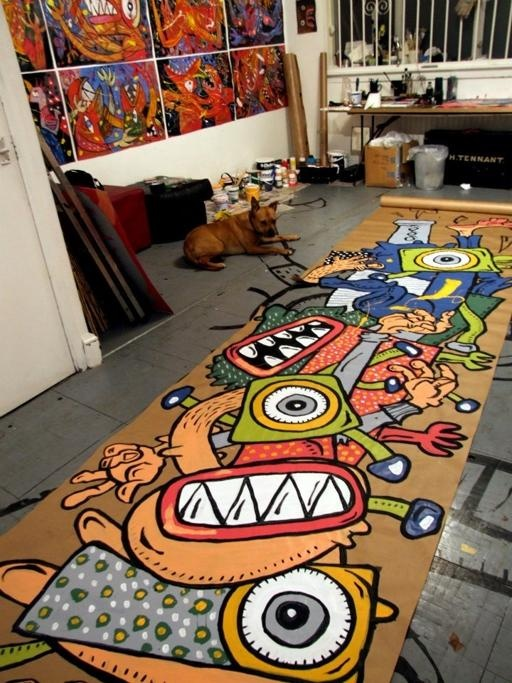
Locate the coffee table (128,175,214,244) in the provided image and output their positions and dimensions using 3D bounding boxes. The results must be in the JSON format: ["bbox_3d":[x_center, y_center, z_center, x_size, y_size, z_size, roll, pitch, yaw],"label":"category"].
[{"bbox_3d":[-0.882,-1.303,4.887,0.500,0.634,0.931,32,50,31],"label":"coffee table"}]

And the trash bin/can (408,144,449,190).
[{"bbox_3d":[2.037,-2.042,5.706,0.448,0.418,0.375,-34,40,-23],"label":"trash bin/can"}]

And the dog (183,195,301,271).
[{"bbox_3d":[-0.195,-0.949,4.496,1.094,0.588,0.556,-11,41,0],"label":"dog"}]

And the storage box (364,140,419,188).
[{"bbox_3d":[1.682,-2.240,6.291,0.605,0.638,0.892,12,33,28],"label":"storage box"}]
